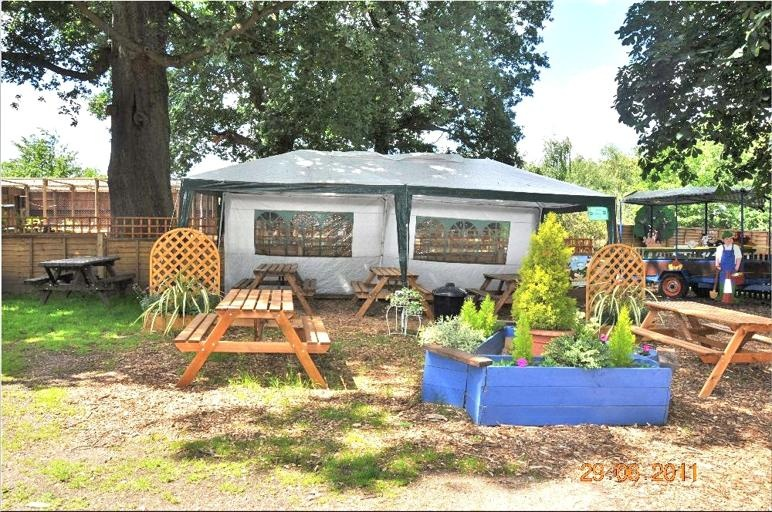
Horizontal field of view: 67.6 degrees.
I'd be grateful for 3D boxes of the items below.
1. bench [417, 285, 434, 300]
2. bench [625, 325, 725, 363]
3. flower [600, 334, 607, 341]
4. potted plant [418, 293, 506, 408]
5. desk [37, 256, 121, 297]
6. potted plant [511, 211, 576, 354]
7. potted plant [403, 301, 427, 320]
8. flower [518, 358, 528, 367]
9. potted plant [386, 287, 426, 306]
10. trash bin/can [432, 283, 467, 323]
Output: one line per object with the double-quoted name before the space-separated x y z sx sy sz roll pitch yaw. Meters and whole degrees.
"bench" 0.819 0.764 12.168 0.337 0.219 0.336 4 1 27
"bench" 4.727 1.448 9.447 1.217 0.609 1.816 2 5 23
"flower" 3.116 1.158 8.177 0.117 0.085 0.115 3 -1 0
"potted plant" 1.053 1.337 8.287 1.370 0.847 1.362 2 2 20
"desk" -6.734 0.411 12.629 1.233 0.607 1.294 2 3 -3
"potted plant" 2.412 0.410 8.755 0.952 2.111 1.353 2 6 18
"potted plant" 0.527 1.007 10.837 0.490 0.288 0.473 4 -3 -13
"flower" 1.842 1.429 7.754 0.111 0.060 0.110 0 -4 -19
"potted plant" 0.417 0.796 11.560 0.512 0.195 0.534 0 3 -11
"trash bin/can" 1.256 0.935 11.971 0.764 0.701 0.744 1 -2 -2
